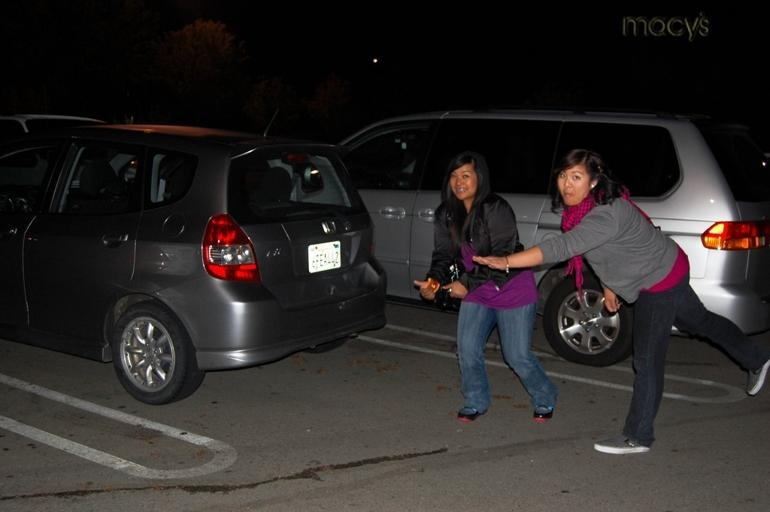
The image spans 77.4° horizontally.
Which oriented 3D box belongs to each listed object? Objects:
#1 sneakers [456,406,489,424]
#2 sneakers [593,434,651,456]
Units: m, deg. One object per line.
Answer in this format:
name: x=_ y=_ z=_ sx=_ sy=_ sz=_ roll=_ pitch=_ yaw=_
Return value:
sneakers: x=0.717 y=1.340 z=4.085 sx=0.242 sy=0.067 sz=0.119 roll=8 pitch=-8 yaw=-41
sneakers: x=1.766 y=1.408 z=3.637 sx=0.393 sy=0.128 sz=0.154 roll=1 pitch=-1 yaw=7
